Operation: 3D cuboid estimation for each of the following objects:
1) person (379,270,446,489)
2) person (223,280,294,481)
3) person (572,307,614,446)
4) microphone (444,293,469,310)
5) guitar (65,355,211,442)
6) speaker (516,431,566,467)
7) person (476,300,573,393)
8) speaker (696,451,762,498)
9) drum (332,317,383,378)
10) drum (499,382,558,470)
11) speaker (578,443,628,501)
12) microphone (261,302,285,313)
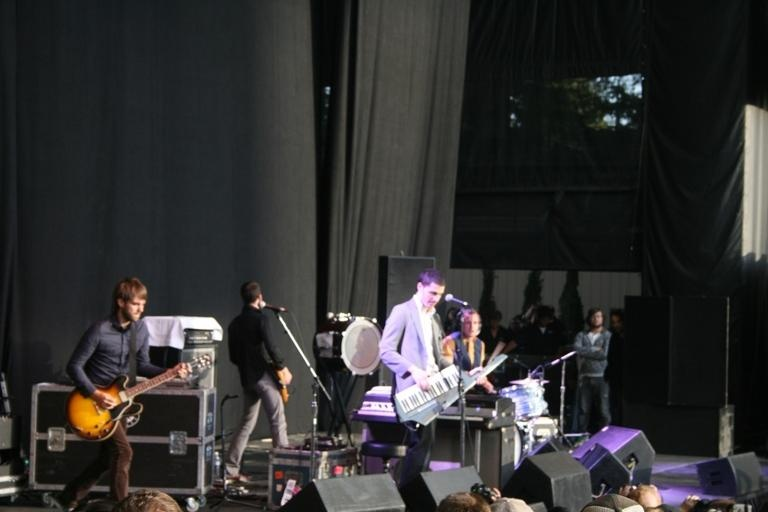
[{"bbox_3d":[0.310,1.220,9.292,0.558,2.198,0.640,1,-2,33],"label":"person"},{"bbox_3d":[-1.426,1.446,10.352,0.718,2.283,0.641,2,-2,-12],"label":"person"},{"bbox_3d":[3.006,1.640,12.937,0.503,1.792,0.592,1,-2,13],"label":"person"},{"bbox_3d":[1.004,0.624,12.392,0.300,0.097,0.096,25,33,18],"label":"microphone"},{"bbox_3d":[-2.533,1.438,8.910,1.151,0.536,0.373,3,-3,-21],"label":"guitar"},{"bbox_3d":[1.638,2.038,9.495,0.174,0.194,0.338,19,-7,38],"label":"speaker"},{"bbox_3d":[2.166,1.368,13.389,1.169,1.261,0.288,-10,-9,19],"label":"person"},{"bbox_3d":[3.864,2.399,9.938,0.628,0.479,0.451,2,-1,-43],"label":"speaker"},{"bbox_3d":[-0.258,1.062,10.662,0.449,0.662,0.210,2,-2,-1],"label":"drum"},{"bbox_3d":[1.763,1.898,10.650,0.676,0.948,0.860,-4,-3,30],"label":"drum"},{"bbox_3d":[2.295,2.242,9.435,0.445,0.511,0.467,-32,32,4],"label":"speaker"},{"bbox_3d":[-1.432,0.659,11.596,0.351,0.123,0.101,12,4,13],"label":"microphone"}]
